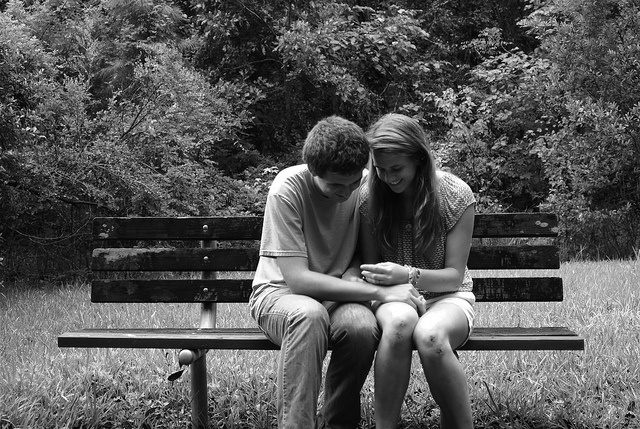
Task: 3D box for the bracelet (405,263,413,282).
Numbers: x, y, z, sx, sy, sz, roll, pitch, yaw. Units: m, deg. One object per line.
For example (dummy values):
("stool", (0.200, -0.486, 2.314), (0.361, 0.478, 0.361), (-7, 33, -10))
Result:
("bracelet", (0.696, 0.448, 5.540), (0.035, 0.096, 0.086), (2, 2, -23))
